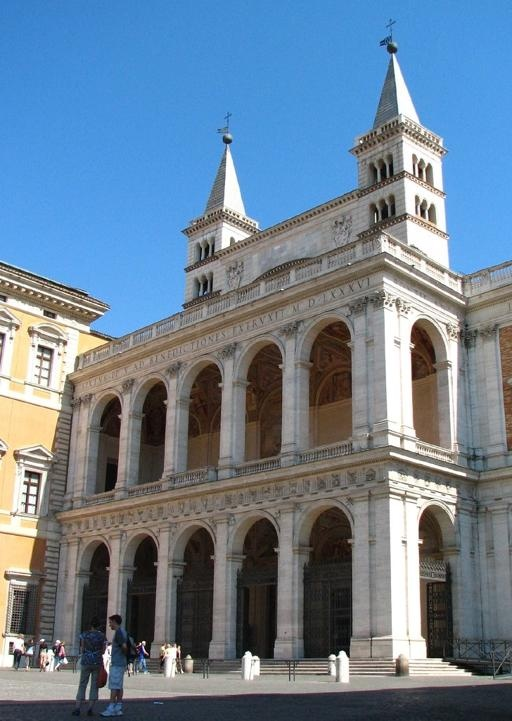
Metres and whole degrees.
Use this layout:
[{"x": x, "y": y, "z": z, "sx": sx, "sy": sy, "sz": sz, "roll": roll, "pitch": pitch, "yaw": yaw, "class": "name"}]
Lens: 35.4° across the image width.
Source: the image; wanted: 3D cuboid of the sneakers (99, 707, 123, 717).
[{"x": -1.824, "y": 4.424, "z": 10.125, "sx": 0.311, "sy": 0.142, "sz": 0.121, "roll": 5, "pitch": -30, "yaw": -1, "class": "sneakers"}]
